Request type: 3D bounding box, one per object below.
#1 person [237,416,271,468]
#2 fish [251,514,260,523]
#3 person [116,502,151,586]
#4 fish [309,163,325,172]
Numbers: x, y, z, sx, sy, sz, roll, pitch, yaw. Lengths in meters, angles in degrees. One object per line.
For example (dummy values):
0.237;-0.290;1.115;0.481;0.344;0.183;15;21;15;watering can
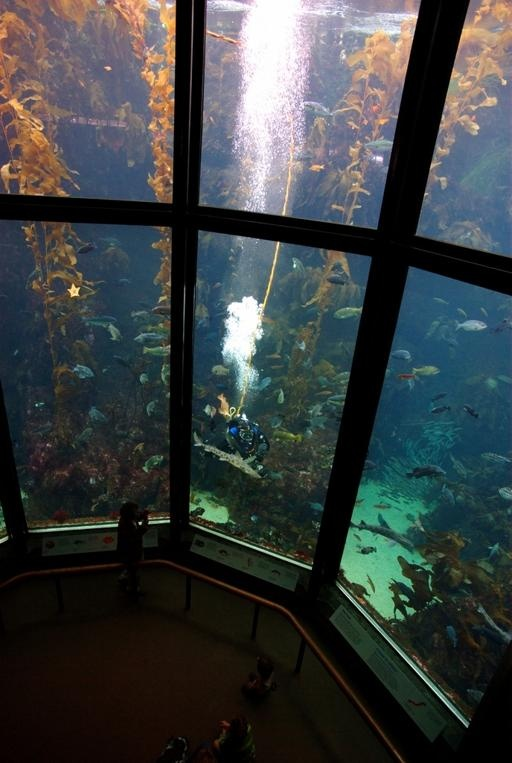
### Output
-0.100;0.694;5.773;0.490;0.341;0.713;-1;8;-1;person
-0.014;1.648;5.984;0.093;0.110;0.027;23;26;30;fish
-1.354;1.833;5.443;0.284;1.290;0.556;4;14;-15;person
0.532;-1.858;4.357;0.030;0.065;0.095;2;3;-42;fish
